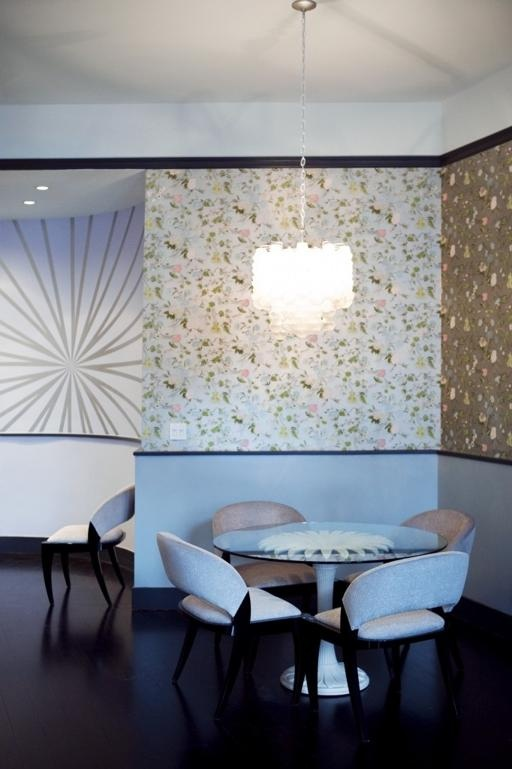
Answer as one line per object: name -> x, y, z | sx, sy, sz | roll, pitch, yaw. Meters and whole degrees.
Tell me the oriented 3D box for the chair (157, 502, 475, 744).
chair -> 0.290, 0.851, 2.118 | 1.285, 0.625, 0.943 | 2, -7, -14
